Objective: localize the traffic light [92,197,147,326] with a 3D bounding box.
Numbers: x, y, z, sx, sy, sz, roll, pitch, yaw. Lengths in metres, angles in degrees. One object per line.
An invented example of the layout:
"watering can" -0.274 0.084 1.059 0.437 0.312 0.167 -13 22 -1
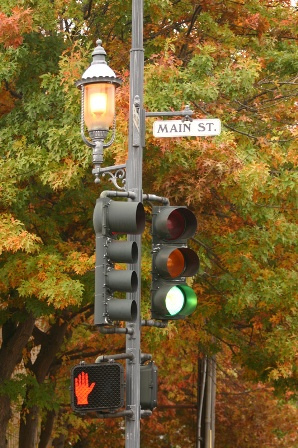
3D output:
"traffic light" -0.356 0.389 12.752 0.554 0.961 1.073 6 43 -4

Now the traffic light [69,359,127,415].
"traffic light" -0.555 1.724 12.789 0.560 0.517 0.427 3 43 -8

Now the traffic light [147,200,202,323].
"traffic light" 0.261 0.421 13.282 0.428 1.247 0.444 1 3 -5
